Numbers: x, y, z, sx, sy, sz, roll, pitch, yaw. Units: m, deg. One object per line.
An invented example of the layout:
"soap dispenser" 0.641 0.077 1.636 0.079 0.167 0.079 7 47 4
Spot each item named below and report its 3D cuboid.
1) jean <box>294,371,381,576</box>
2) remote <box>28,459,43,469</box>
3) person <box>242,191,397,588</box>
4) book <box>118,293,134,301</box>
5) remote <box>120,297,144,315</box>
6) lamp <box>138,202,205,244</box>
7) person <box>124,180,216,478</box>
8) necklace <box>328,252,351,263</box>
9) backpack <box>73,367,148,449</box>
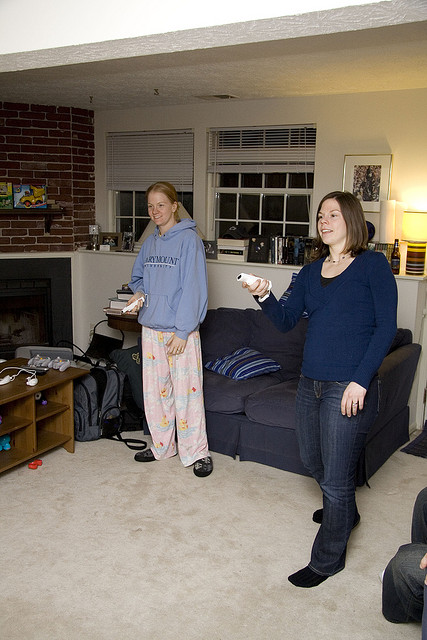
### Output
"jean" 0.446 0.566 1.684 0.217 0.809 0.360 0 6 -15
"remote" -1.068 0.850 2.829 0.050 0.019 0.052 3 6 30
"person" 0.375 0.290 1.671 0.478 1.462 0.342 3 6 23
"book" -0.788 -0.206 4.217 0.132 0.065 0.079 2 5 4
"remote" -0.472 -0.072 2.671 0.049 0.061 0.233 -27 3 22
"lamp" -0.435 -0.948 4.711 0.554 0.384 0.538 -4 7 -6
"person" -0.221 0.052 2.790 0.509 1.675 0.444 1 5 0
"necklace" 0.437 -0.214 1.627 0.050 0.002 0.049 -21 34 52
"backpack" -0.748 0.576 3.436 0.528 0.573 0.423 0 4 -18
